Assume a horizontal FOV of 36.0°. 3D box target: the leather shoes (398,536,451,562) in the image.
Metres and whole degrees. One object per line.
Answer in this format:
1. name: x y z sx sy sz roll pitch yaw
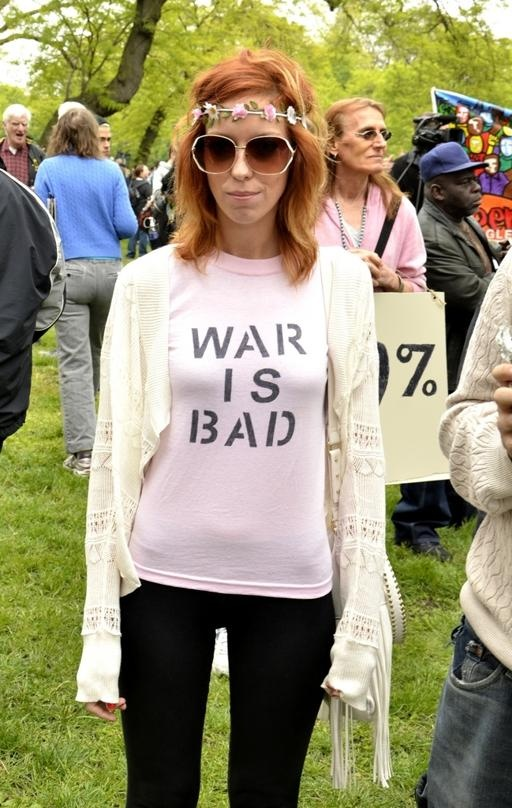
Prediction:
1. leather shoes: 0.969 0.834 4.601 0.293 0.109 0.109 5 4 43

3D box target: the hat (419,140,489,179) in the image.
1. hat: 1.109 -1.370 4.464 0.332 0.180 0.197 -10 18 25
